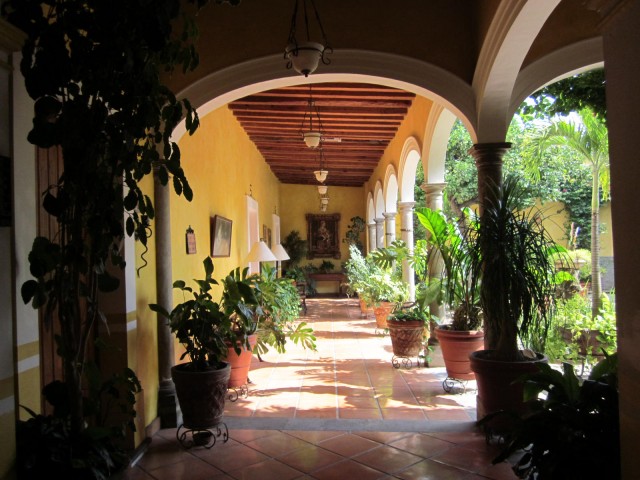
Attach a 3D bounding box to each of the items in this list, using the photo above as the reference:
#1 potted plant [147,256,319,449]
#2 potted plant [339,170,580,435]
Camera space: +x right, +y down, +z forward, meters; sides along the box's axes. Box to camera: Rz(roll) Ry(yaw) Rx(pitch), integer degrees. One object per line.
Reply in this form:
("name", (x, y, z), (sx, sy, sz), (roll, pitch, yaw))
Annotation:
("potted plant", (-0.927, 0.976, 4.642), (1.800, 1.549, 1.364), (0, -3, 21))
("potted plant", (1.352, 0.574, 4.863), (1.865, 2.189, 1.817), (-3, -5, 19))
